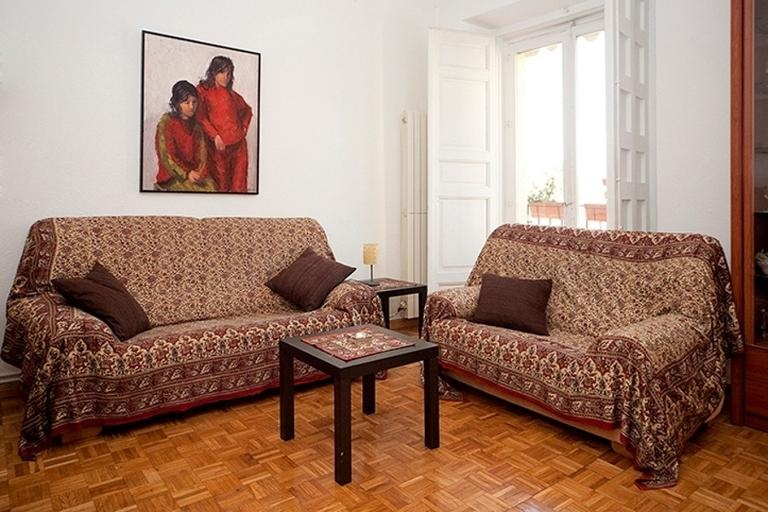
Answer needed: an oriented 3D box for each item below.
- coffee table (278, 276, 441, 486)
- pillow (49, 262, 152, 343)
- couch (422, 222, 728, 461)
[{"bbox_3d":[-0.163,0.903,3.490,0.935,0.729,0.703,-6,9,-29],"label":"coffee table"},{"bbox_3d":[-2.032,0.314,3.794,0.593,0.478,0.380,-1,8,7],"label":"pillow"},{"bbox_3d":[1.354,0.485,3.737,1.399,1.327,2.402,0,2,-40],"label":"couch"}]
